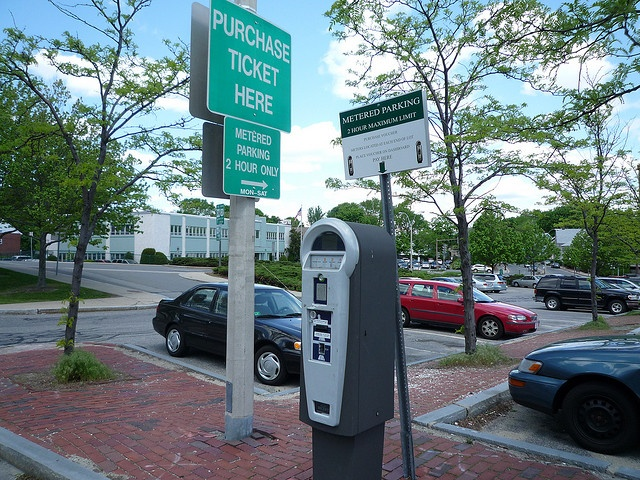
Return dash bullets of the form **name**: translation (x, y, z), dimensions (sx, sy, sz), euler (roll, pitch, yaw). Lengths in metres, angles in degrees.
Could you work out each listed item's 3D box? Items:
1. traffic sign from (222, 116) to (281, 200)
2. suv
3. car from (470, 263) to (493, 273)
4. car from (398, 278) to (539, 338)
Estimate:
- **traffic sign**: translation (-0.886, -1.075, 6.538), dimensions (0.843, 1.002, 0.160), euler (4, -5, -44)
- **suv**: translation (12.201, 2.468, 22.607), dimensions (3.451, 1.394, 1.608), euler (-5, -6, 31)
- **car**: translation (21.285, 3.637, 65.233), dimensions (1.887, 1.145, 5.654), euler (-1, -5, 15)
- **car**: translation (4.236, 2.045, 14.926), dimensions (3.780, 1.690, 1.330), euler (-4, -6, 43)
